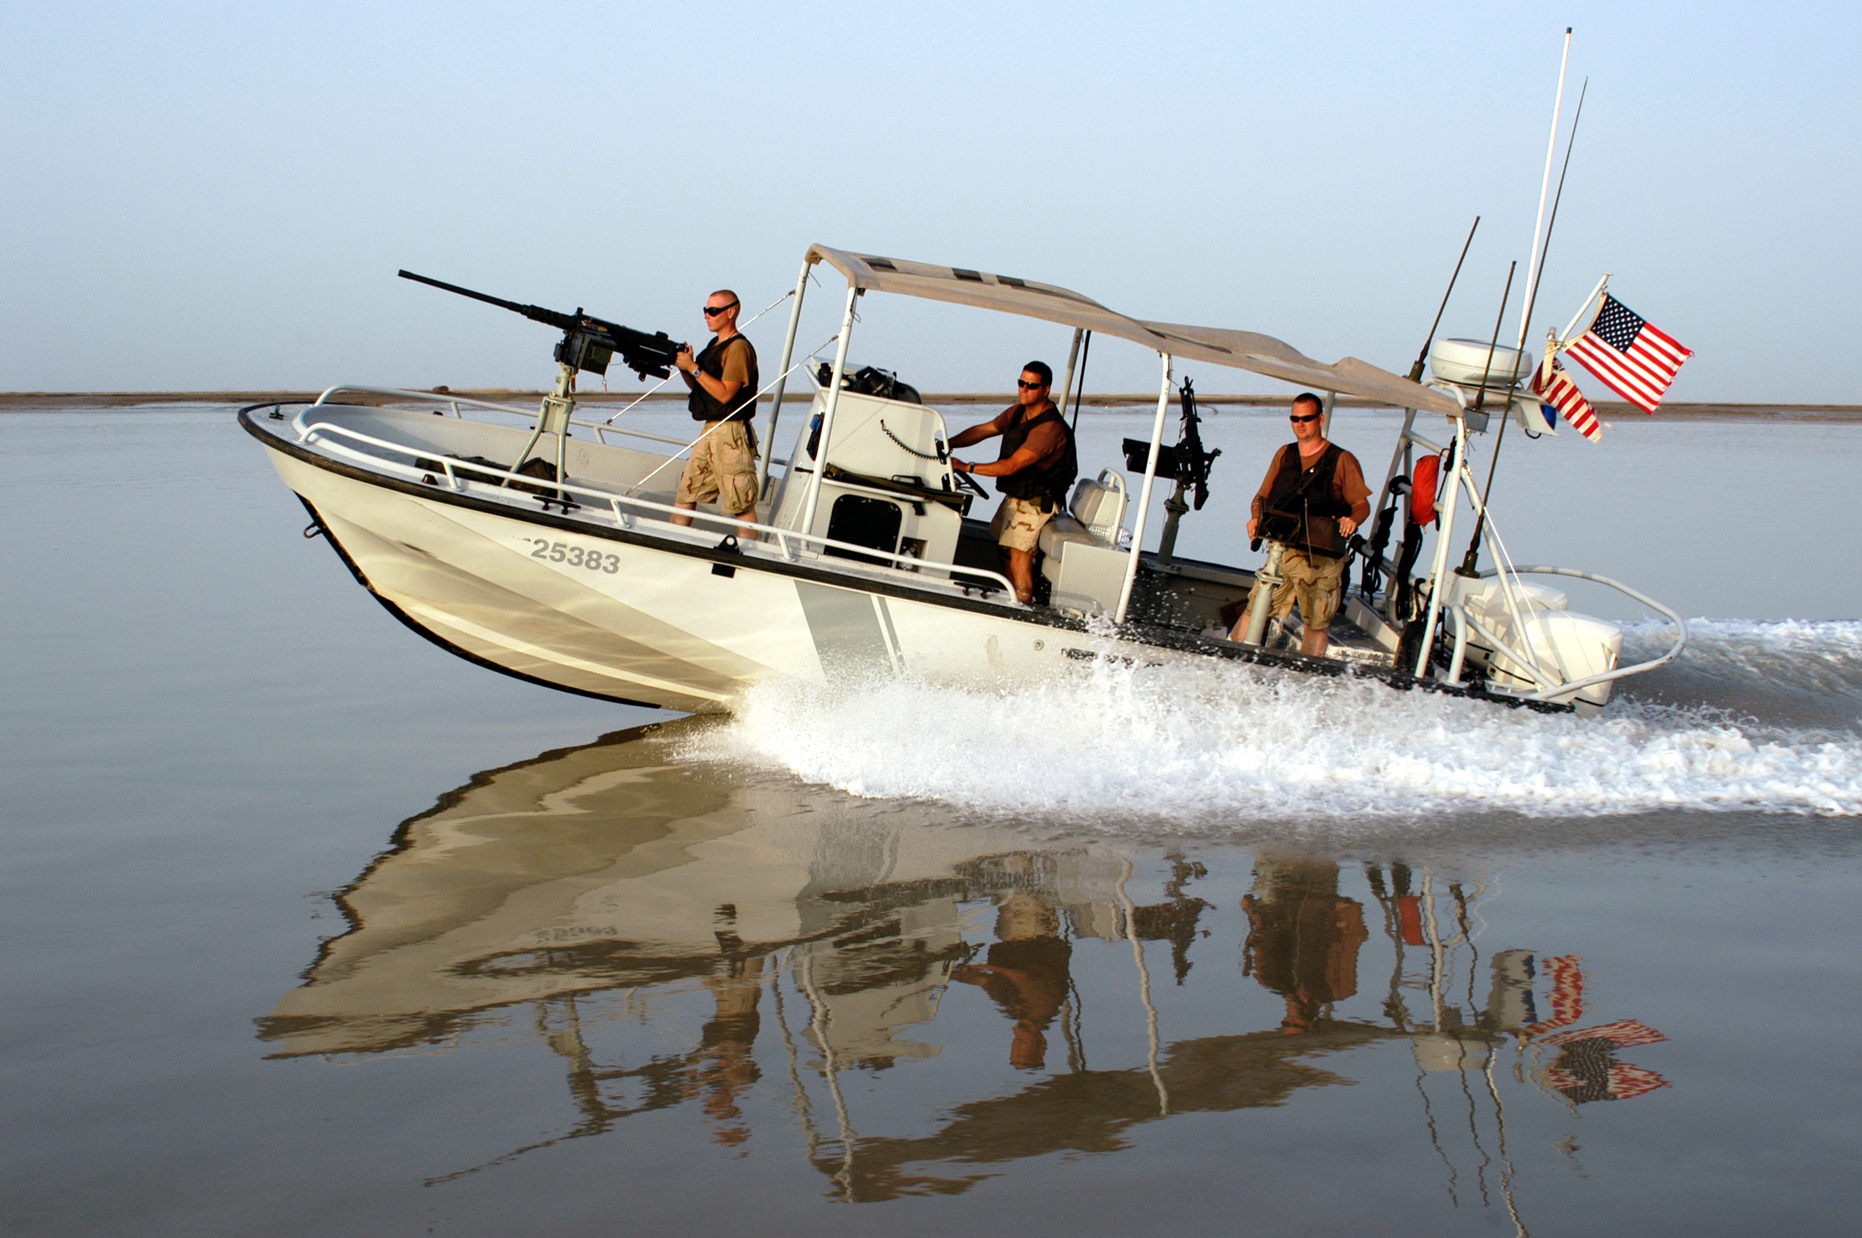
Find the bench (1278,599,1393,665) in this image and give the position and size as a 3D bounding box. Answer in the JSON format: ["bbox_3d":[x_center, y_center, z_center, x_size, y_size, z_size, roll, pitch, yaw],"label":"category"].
[{"bbox_3d":[3.265,0.151,12.968,0.674,0.135,0.731,4,14,-5],"label":"bench"}]

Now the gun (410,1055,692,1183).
[{"bbox_3d":[-1.817,2.590,8.389,1.654,0.028,0.365,-10,39,-15],"label":"gun"}]
